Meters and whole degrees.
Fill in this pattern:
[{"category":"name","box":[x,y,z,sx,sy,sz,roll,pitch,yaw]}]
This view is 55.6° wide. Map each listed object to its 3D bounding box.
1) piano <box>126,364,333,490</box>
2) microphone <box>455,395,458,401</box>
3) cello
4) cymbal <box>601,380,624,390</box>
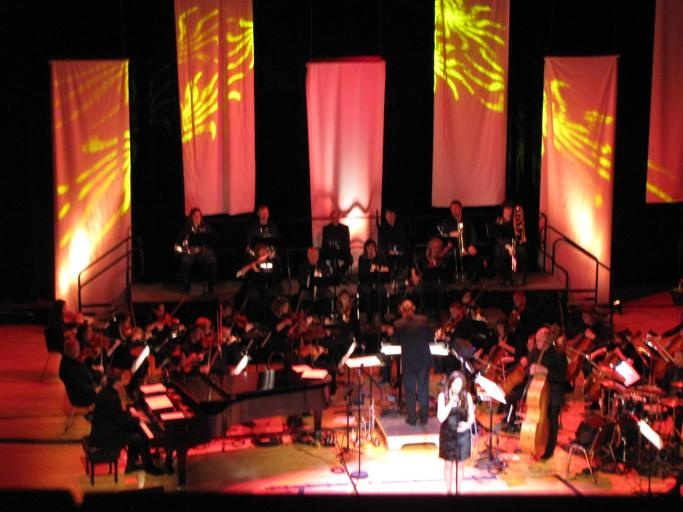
[{"category":"piano","box":[-1.676,2.254,9.613,1.847,0.931,1.742,1,4,-16]},{"category":"microphone","box":[1.585,1.941,8.853,0.061,0.079,0.016,-2,4,-22]},{"category":"cello","box":[3.032,2.120,9.772,0.444,2.050,0.703,2,4,41]},{"category":"cymbal","box":[4.111,1.988,9.764,0.246,0.077,0.152,15,-4,-33]}]
